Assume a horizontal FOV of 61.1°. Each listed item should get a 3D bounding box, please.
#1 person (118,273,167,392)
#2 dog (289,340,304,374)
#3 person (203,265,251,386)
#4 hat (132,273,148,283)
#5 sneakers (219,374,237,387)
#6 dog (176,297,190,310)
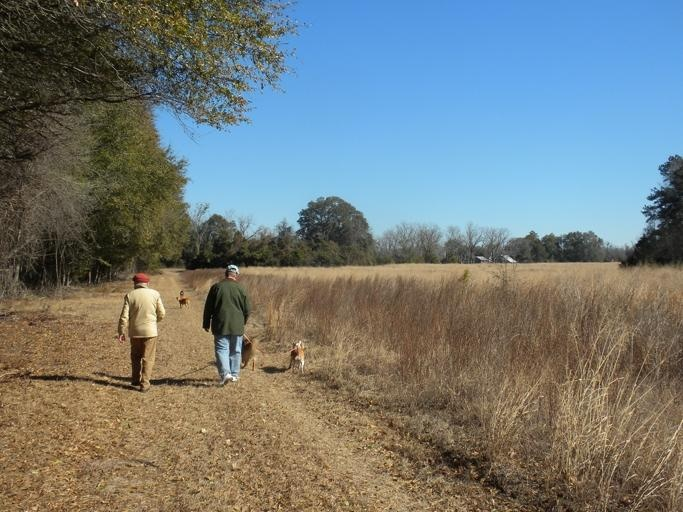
[{"bbox_3d":[-4.629,1.778,13.443,0.998,2.595,1.032,-5,14,-18],"label":"person"},{"bbox_3d":[-1.174,2.607,15.014,0.444,0.823,0.734,-2,13,-6],"label":"dog"},{"bbox_3d":[-2.736,1.658,13.876,1.080,2.774,1.025,-3,13,-11],"label":"person"},{"bbox_3d":[-5.436,0.591,15.594,0.423,0.221,0.562,2,9,-17],"label":"hat"},{"bbox_3d":[-2.676,2.946,13.714,0.453,0.229,0.184,5,-14,-37],"label":"sneakers"},{"bbox_3d":[-7.066,2.061,25.902,0.445,0.531,1.040,-5,14,-19],"label":"dog"}]
